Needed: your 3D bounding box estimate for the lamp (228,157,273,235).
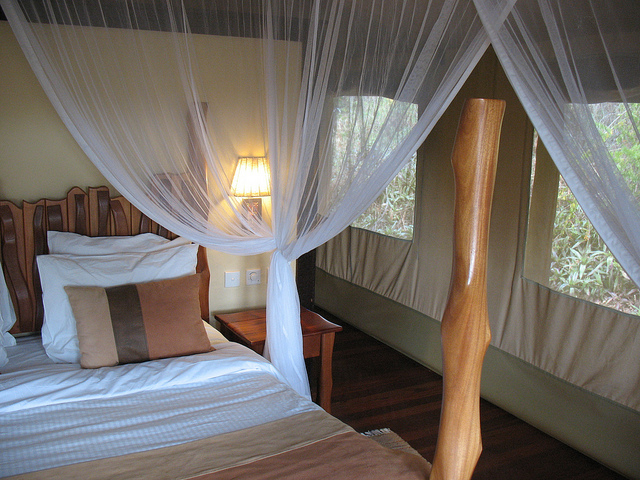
[{"bbox_3d":[-0.354,-0.214,2.535,0.210,0.446,0.205,-6,-10,43],"label":"lamp"}]
